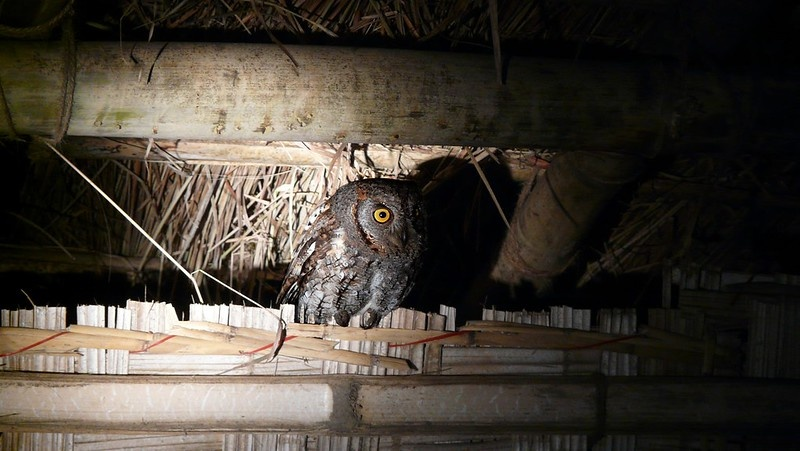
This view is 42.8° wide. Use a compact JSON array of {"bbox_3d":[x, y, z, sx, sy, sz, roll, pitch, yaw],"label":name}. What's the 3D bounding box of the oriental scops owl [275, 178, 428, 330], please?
[{"bbox_3d":[-0.343,0.211,7.921,1.095,1.082,0.575,3,-1,7],"label":"oriental scops owl"}]
